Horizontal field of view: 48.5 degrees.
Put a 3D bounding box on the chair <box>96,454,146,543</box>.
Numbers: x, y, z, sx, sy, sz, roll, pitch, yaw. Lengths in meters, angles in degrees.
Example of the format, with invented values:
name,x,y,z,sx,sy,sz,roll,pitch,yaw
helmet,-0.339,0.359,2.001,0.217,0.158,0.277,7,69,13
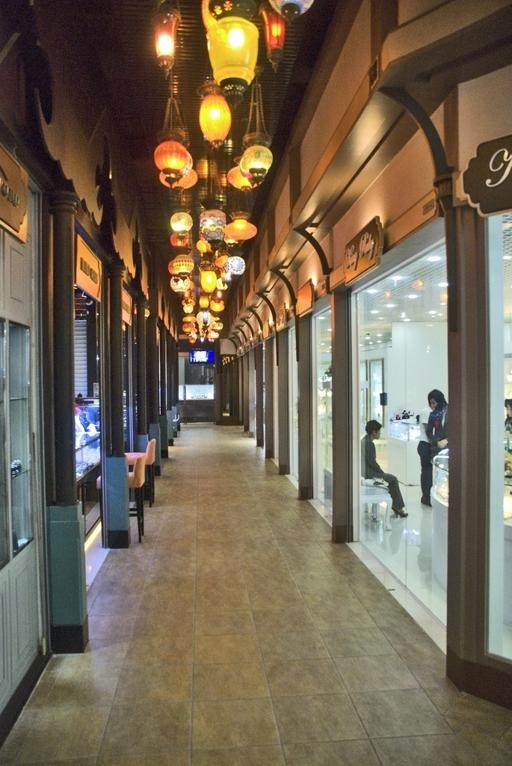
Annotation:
name,x,y,z,sx,sy,sz,roll,pitch,yaw
chair,-1.492,1.214,6.398,0.460,0.654,1.542,0,-1,-11
